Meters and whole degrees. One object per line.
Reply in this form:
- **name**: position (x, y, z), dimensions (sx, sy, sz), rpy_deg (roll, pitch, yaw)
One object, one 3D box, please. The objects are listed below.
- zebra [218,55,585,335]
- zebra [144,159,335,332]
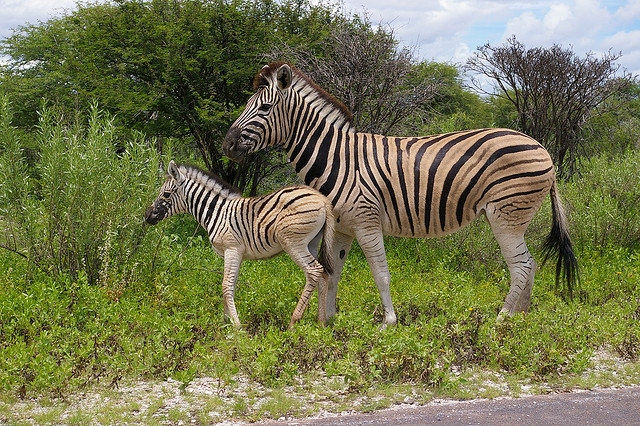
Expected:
- **zebra**: position (1.332, -0.348, 8.059), dimensions (3.998, 3.417, 2.996), rpy_deg (1, 9, 20)
- **zebra**: position (-0.995, 0.417, 7.630), dimensions (2.458, 2.095, 0.752), rpy_deg (0, -1, 8)
